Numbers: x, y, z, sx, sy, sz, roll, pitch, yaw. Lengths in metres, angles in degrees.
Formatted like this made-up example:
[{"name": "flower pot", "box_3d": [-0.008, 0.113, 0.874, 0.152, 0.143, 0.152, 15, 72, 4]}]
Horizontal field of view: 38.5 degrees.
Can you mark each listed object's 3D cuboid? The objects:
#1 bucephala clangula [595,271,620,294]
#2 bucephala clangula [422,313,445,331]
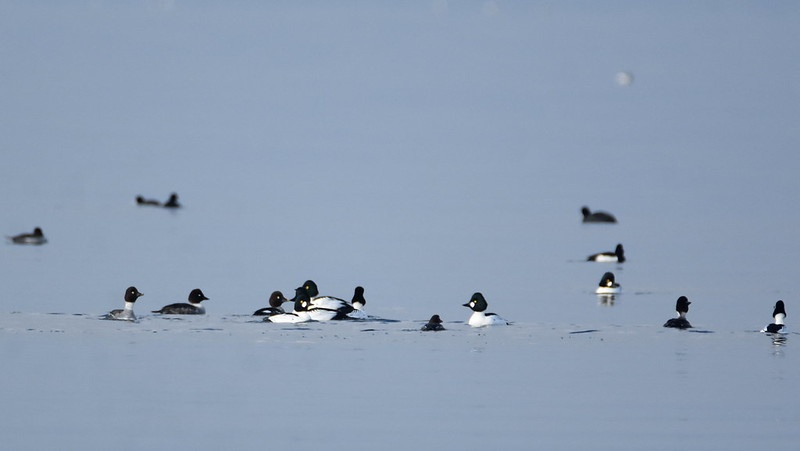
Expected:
[{"name": "bucephala clangula", "box_3d": [7.651, 2.138, 42.055, 0.459, 0.597, 1.478, 4, 18, 17]}, {"name": "bucephala clangula", "box_3d": [1.008, 3.074, 35.712, 0.831, 0.357, 0.586, -9, 15, -34]}]
